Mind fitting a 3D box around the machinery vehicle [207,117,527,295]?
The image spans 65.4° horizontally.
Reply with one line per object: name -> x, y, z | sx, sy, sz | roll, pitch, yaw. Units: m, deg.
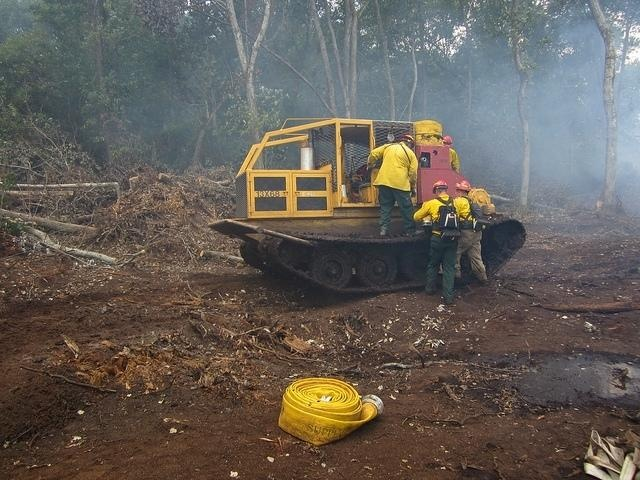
machinery vehicle -> 0.900, -1.197, 12.828 | 7.052, 3.881, 4.303 | -2, 6, -22

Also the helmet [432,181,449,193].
helmet -> 2.687, -1.193, 11.361 | 0.244, 0.176, 0.329 | 0, 12, -7

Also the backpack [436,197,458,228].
backpack -> 2.745, -0.534, 10.805 | 0.428, 0.666, 0.375 | 1, 6, -2

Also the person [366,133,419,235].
person -> 1.666, -1.145, 11.497 | 1.024, 2.153, 0.504 | 2, 7, 7
